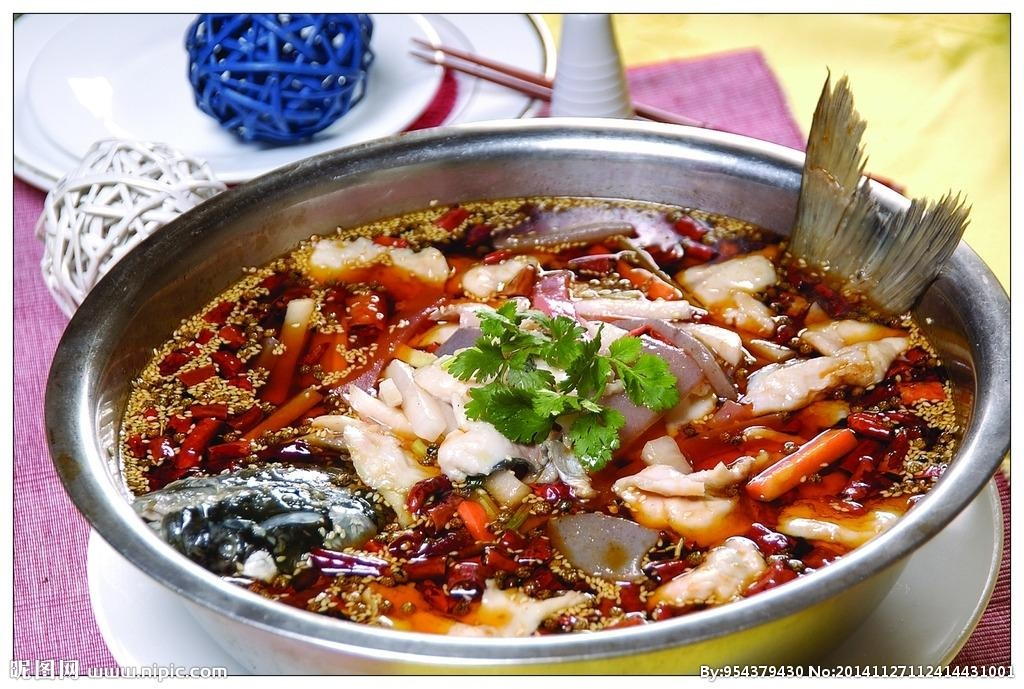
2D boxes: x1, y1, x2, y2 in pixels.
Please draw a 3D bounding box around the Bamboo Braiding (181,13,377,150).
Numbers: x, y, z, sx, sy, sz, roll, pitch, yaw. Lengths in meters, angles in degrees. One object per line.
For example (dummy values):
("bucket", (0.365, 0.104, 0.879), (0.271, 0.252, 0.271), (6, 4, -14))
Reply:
("Bamboo Braiding", (-0.880, -0.996, 3.283), (0.625, 0.466, 0.493), (-5, 21, 0))
